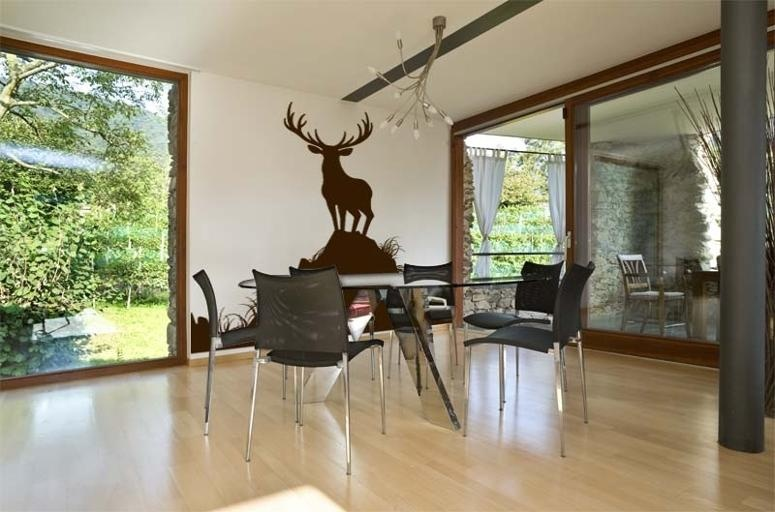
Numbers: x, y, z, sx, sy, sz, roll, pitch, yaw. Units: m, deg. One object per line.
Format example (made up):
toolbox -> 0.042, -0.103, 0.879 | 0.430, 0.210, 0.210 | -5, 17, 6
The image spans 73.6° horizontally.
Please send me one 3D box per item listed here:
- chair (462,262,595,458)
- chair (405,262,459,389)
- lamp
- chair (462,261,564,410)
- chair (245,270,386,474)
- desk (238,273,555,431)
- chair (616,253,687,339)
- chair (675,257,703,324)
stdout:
chair -> 1.096, 0.709, 4.026 | 0.850, 1.276, 0.806 | 0, 4, 25
chair -> 0.384, 0.482, 4.174 | 0.490, 0.747, 0.468 | -7, -11, 27
lamp -> 0.397, -1.985, 5.297 | 0.801, 0.915, 0.831 | 15, 17, -30
chair -> 1.045, 0.692, 4.604 | 0.882, 1.356, 0.831 | -4, 7, -7
chair -> -0.516, 0.764, 3.807 | 0.830, 1.288, 0.851 | 0, -1, 14
desk -> 0.254, 0.786, 4.018 | 1.202, 0.717, 1.130 | 8, -3, 17
chair -> 2.761, 0.398, 5.438 | 0.485, 0.850, 0.586 | 1, -2, -27
chair -> 3.061, 0.351, 5.265 | 0.336, 0.618, 0.351 | -5, 4, 12
